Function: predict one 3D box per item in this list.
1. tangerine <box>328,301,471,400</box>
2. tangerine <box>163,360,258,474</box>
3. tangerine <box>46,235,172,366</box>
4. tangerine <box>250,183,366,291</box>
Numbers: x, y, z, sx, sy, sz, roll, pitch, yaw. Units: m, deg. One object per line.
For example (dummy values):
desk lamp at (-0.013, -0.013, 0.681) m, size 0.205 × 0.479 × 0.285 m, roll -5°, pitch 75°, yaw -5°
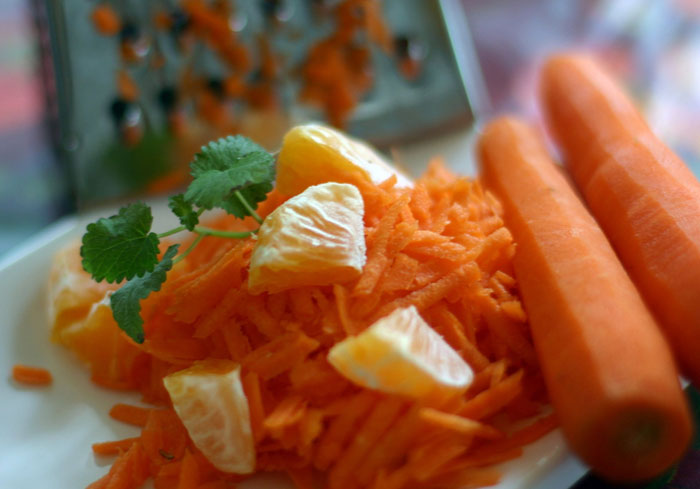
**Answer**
tangerine at (0.078, 0.172, 0.994) m, size 0.172 × 0.072 × 0.150 m, roll 7°, pitch 45°, yaw -3°
tangerine at (-0.220, 0.288, 1.048) m, size 0.118 × 0.143 × 0.121 m, roll -15°, pitch 36°, yaw -11°
tangerine at (-0.503, 0.118, 1.269) m, size 0.183 × 0.064 × 0.209 m, roll -14°, pitch 67°, yaw 9°
tangerine at (-0.074, -0.011, 1.067) m, size 0.200 × 0.124 × 0.124 m, roll -7°, pitch 35°, yaw -1°
